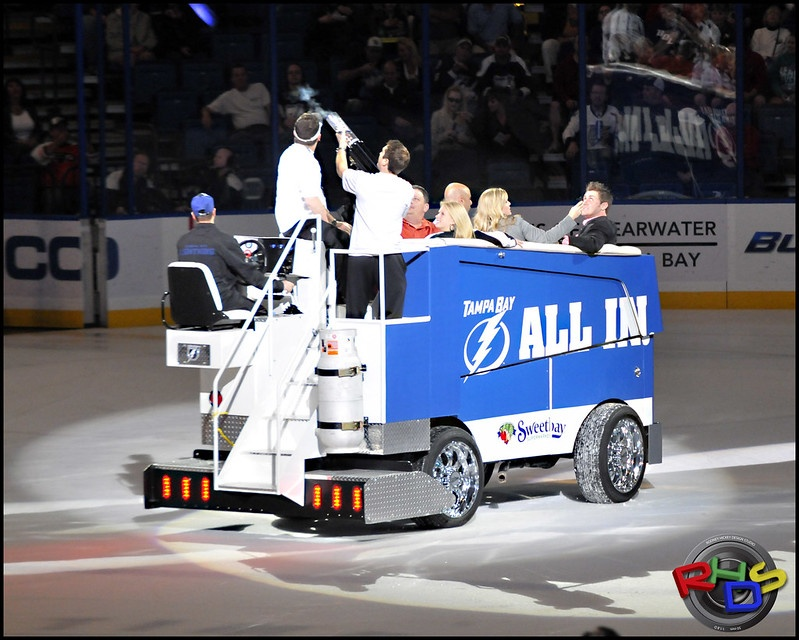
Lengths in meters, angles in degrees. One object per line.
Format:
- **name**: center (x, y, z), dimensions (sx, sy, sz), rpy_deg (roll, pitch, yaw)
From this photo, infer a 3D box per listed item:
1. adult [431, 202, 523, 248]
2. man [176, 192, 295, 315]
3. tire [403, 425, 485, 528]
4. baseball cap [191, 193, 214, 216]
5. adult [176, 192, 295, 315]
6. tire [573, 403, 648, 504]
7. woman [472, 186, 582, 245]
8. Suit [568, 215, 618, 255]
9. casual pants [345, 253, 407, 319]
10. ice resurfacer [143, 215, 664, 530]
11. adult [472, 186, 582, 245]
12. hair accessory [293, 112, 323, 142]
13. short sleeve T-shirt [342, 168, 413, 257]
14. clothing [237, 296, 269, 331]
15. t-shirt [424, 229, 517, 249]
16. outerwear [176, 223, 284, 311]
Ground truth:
- **adult**: center (0.595, -0.697, 8.703), dimensions (0.680, 0.261, 0.497), rpy_deg (2, 19, -7)
- **man**: center (-1.209, -0.541, 8.599), dimensions (0.693, 0.889, 0.869), rpy_deg (18, 27, 29)
- **tire**: center (0.306, 1.077, 8.140), dimensions (0.244, 0.681, 0.731), rpy_deg (-5, -15, 39)
- **baseball cap**: center (-1.403, -0.820, 8.453), dimensions (0.173, 0.134, 0.237), rpy_deg (1, 32, 0)
- **adult**: center (-1.231, -0.464, 8.649), dimensions (0.746, 0.929, 0.977), rpy_deg (11, 15, 34)
- **tire**: center (1.627, 1.001, 9.035), dimensions (0.265, 0.762, 0.821), rpy_deg (1, -10, 36)
- **woman**: center (0.908, -0.798, 9.055), dimensions (0.669, 0.336, 0.476), rpy_deg (-3, 9, -28)
- **Suit**: center (1.505, -0.658, 9.254), dimensions (0.274, 0.248, 0.820), rpy_deg (11, 8, 8)
- **casual pants**: center (-0.135, -0.240, 7.945), dimensions (0.458, 0.576, 0.230), rpy_deg (3, 2, 24)
- **ice resurfacer**: center (0.149, 0.351, 8.734), dimensions (3.438, 1.745, 1.986), rpy_deg (-4, 4, -43)
- **adult**: center (0.915, -0.792, 9.007), dimensions (0.669, 0.336, 0.476), rpy_deg (-3, 9, -28)
- **hair accessory**: center (-0.688, -1.497, 9.052), dimensions (0.204, 0.236, 0.230), rpy_deg (9, -37, 5)
- **short sleeve T-shirt**: center (-0.162, -0.741, 8.586), dimensions (0.561, 0.651, 0.358), rpy_deg (9, 11, -6)
- **clothing**: center (-1.012, -0.054, 8.259), dimensions (0.071, 0.216, 0.175), rpy_deg (4, -3, 33)
- **t-shirt**: center (0.612, -0.579, 8.455), dimensions (0.288, 0.080, 0.286), rpy_deg (1, -2, 39)
- **outerwear**: center (-1.341, -0.350, 8.467), dimensions (0.609, 0.602, 0.619), rpy_deg (-5, 13, -35)
